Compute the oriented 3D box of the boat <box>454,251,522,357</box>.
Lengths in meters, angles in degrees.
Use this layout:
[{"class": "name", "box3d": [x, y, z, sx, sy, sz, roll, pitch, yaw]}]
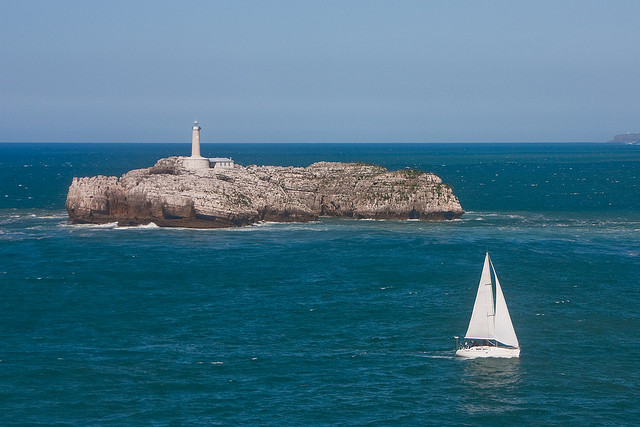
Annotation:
[{"class": "boat", "box3d": [20.335, 11.192, 148.835, 6.384, 12.041, 2.306, 1, 6, 7]}]
